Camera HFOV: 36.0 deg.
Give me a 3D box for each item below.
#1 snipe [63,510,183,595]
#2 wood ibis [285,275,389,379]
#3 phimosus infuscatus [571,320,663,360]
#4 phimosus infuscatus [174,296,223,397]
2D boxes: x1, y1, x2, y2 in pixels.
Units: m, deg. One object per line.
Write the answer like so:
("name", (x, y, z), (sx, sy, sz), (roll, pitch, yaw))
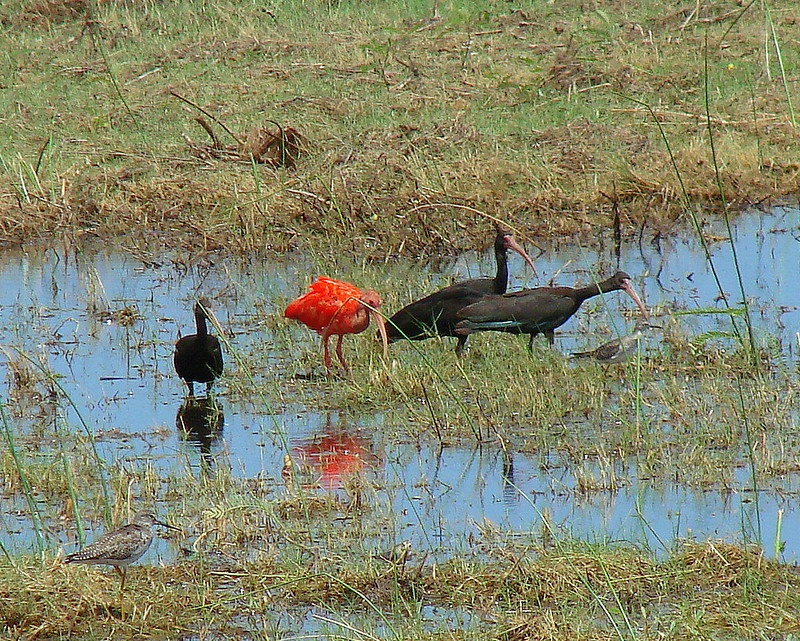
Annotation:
("snipe", (-1.538, 1.216, 7.003), (0.489, 0.420, 0.910), (-9, 13, -25))
("wood ibis", (-0.448, 0.078, 11.077), (0.512, 0.760, 1.016), (-9, 16, -31))
("phimosus infuscatus", (1.782, 0.259, 10.589), (0.674, 0.486, 0.243), (1, 16, 30))
("phimosus infuscatus", (-1.682, 0.248, 10.545), (0.426, 0.852, 0.478), (-7, 19, -23))
